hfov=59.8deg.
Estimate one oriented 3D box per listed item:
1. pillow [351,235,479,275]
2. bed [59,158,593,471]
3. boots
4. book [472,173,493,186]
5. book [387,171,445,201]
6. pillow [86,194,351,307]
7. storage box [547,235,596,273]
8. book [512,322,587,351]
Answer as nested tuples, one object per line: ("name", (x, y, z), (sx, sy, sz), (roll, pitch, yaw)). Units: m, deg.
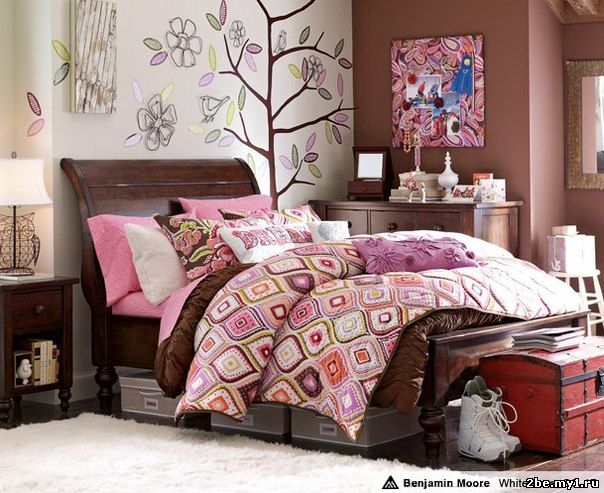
("pillow", (0.563, 0.043, 2.560), (0.568, 0.192, 0.327), (3, -7, -30))
("bed", (-0.018, 0.168, 3.029), (2.425, 1.364, 1.649), (-1, 0, 38))
("boots", (0.747, 0.688, 2.144), (0.208, 0.320, 0.332), (-1, 0, -45))
("book", (1.447, -0.544, 4.251), (0.138, 0.101, 0.136), (-1, -1, 19))
("book", (1.004, -0.507, 4.492), (0.325, 0.146, 0.318), (-7, 8, -44))
("pillow", (-0.469, 0.000, 3.217), (1.329, 0.713, 0.861), (5, -8, -44))
("storage box", (2.110, 0.045, 4.169), (0.275, 0.338, 0.488), (1, 3, 45))
("book", (1.080, 0.396, 2.276), (0.171, 0.054, 0.154), (-4, 2, -38))
